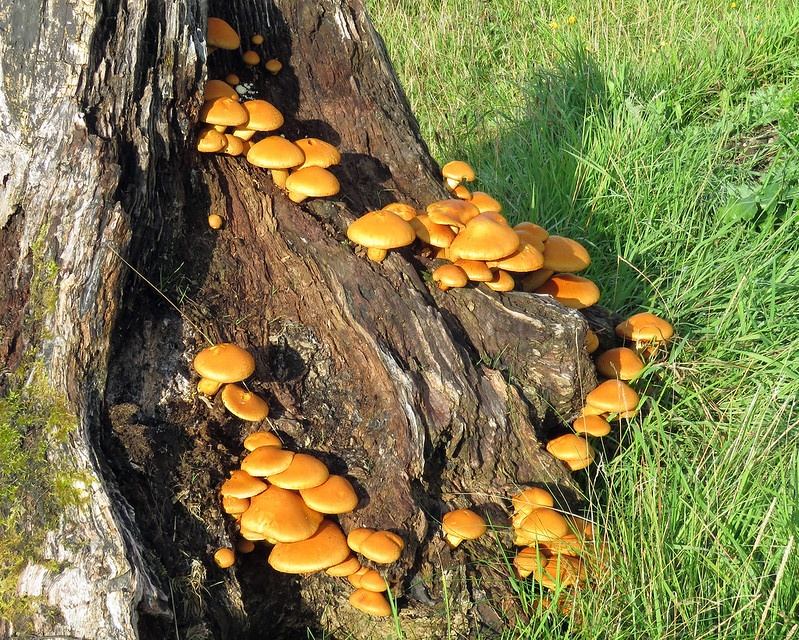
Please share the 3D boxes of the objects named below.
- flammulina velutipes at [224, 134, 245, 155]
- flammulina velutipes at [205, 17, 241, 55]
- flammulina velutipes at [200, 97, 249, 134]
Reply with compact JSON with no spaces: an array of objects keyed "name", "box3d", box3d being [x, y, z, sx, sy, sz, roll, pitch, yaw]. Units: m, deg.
[{"name":"flammulina velutipes","box3d":[-1.177,-1.231,5.892,0.139,0.179,0.142,1,48,-10]},{"name":"flammulina velutipes","box3d":[-1.279,-2.069,5.984,0.227,0.190,0.235,-5,50,-16]},{"name":"flammulina velutipes","box3d":[-1.209,-1.444,5.720,0.228,0.081,0.226,31,57,17]}]
